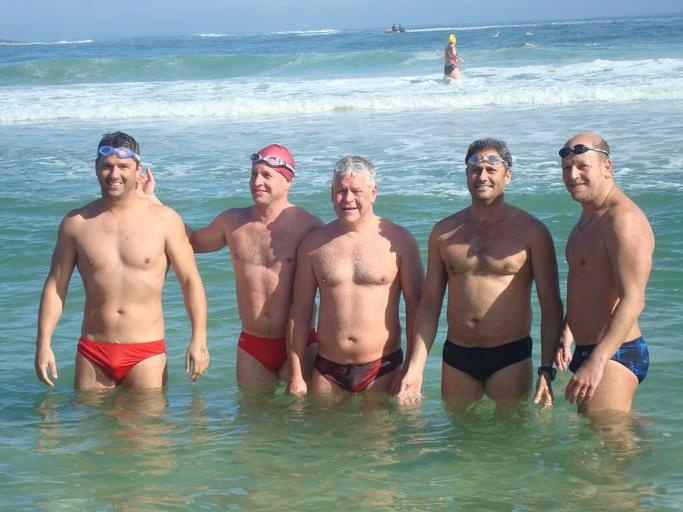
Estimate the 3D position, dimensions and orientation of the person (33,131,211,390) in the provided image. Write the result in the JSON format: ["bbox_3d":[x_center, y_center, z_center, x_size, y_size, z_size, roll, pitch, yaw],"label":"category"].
[{"bbox_3d":[-2.069,0.080,8.280,1.513,2.399,0.368,-5,12,-4],"label":"person"}]

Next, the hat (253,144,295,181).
[{"bbox_3d":[-0.604,-0.922,8.624,0.408,0.261,0.354,10,14,-43],"label":"hat"}]

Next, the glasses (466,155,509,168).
[{"bbox_3d":[1.299,-0.843,8.008,0.389,0.138,0.157,-3,10,3],"label":"glasses"}]

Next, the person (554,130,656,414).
[{"bbox_3d":[2.250,0.216,7.819,0.841,2.541,0.834,-3,12,12],"label":"person"}]

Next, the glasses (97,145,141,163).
[{"bbox_3d":[-2.007,-0.923,8.138,0.351,0.165,0.198,-5,10,-12],"label":"glasses"}]

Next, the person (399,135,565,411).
[{"bbox_3d":[1.254,0.179,8.111,1.368,2.423,0.541,-3,12,11],"label":"person"}]
